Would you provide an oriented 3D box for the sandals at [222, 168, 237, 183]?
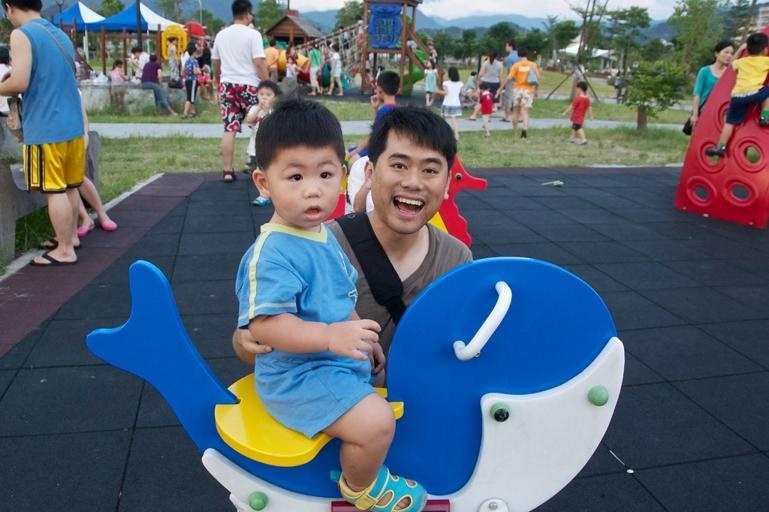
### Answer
[{"bbox_3d":[-2.066,-1.061,8.491,0.159,0.114,0.424,-3,13,-8],"label":"sandals"}]

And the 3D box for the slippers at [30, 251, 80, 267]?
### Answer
[{"bbox_3d":[-2.973,0.048,5.723,0.307,0.083,0.163,2,13,-16],"label":"slippers"}]

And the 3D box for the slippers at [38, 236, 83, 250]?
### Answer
[{"bbox_3d":[-3.076,-0.110,6.072,0.393,0.111,0.154,0,15,-21],"label":"slippers"}]
